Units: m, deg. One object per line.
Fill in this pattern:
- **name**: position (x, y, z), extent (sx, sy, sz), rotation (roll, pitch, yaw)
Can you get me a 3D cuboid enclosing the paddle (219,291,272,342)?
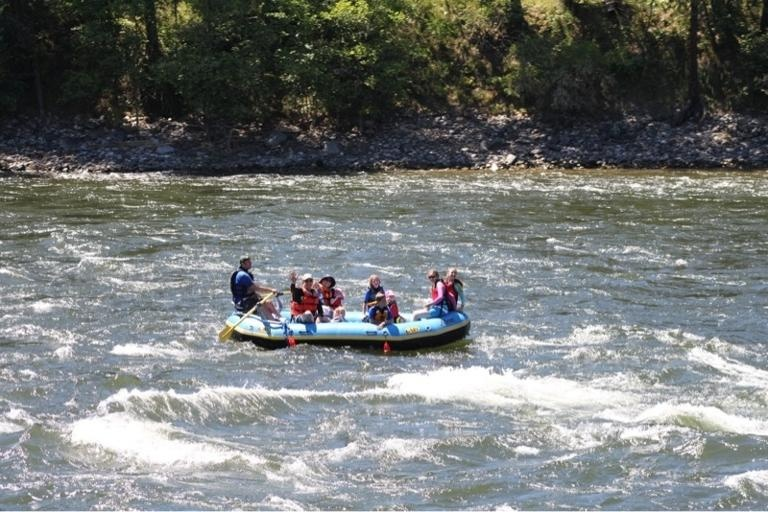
- **paddle**: position (-5.259, 2.392, 64.342), extent (2.843, 0.463, 0.154), rotation (-38, -13, -2)
